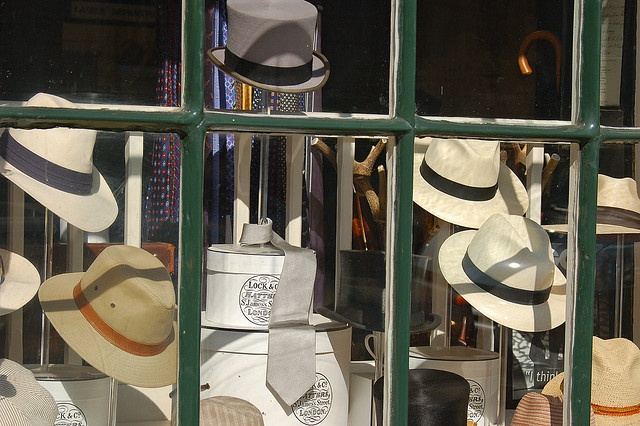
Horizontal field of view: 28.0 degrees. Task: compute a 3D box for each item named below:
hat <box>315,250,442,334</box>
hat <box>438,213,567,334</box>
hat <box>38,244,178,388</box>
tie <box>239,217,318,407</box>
[{"bbox_3d":[0.177,0.189,3.554,0.270,0.152,0.264,0,-2,42],"label":"hat"},{"bbox_3d":[0.506,0.168,3.575,0.352,0.281,0.187,4,11,6],"label":"hat"},{"bbox_3d":[-0.507,0.273,3.401,0.479,0.329,0.267,9,13,27],"label":"hat"},{"bbox_3d":[-0.074,0.307,3.426,0.132,0.393,0.155,2,11,-3],"label":"tie"}]
